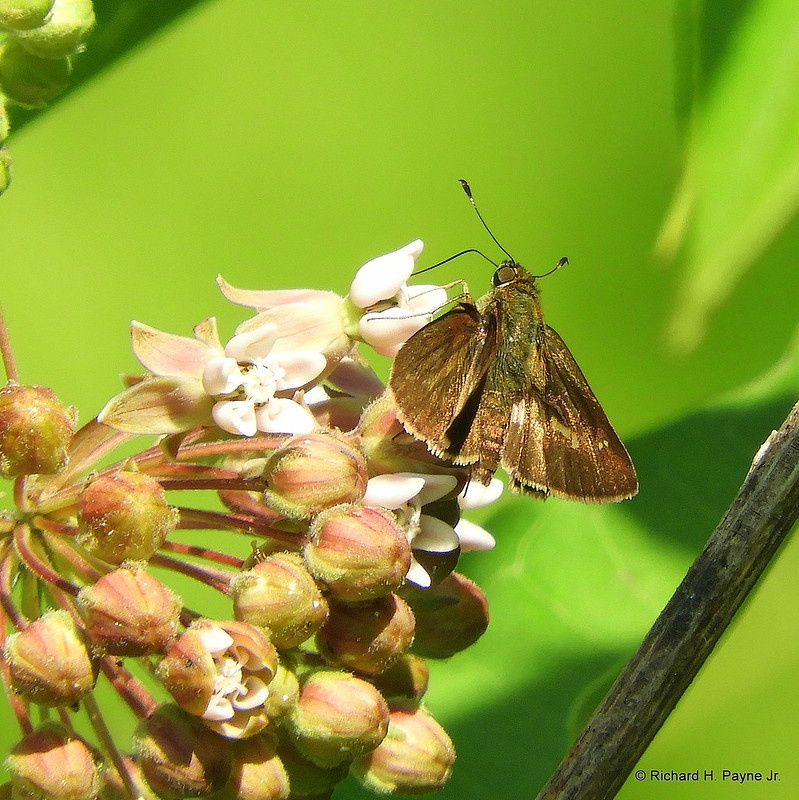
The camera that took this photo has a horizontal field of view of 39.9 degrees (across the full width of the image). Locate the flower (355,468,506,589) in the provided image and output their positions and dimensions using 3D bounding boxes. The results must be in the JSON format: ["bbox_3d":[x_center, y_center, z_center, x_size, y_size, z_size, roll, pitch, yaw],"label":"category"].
[{"bbox_3d":[0.043,0.171,1.484,0.164,0.061,0.164,32,51,20],"label":"flower"}]

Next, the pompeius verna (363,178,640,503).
[{"bbox_3d":[0.101,-0.050,1.791,0.210,0.510,0.509,-11,60,29],"label":"pompeius verna"}]
